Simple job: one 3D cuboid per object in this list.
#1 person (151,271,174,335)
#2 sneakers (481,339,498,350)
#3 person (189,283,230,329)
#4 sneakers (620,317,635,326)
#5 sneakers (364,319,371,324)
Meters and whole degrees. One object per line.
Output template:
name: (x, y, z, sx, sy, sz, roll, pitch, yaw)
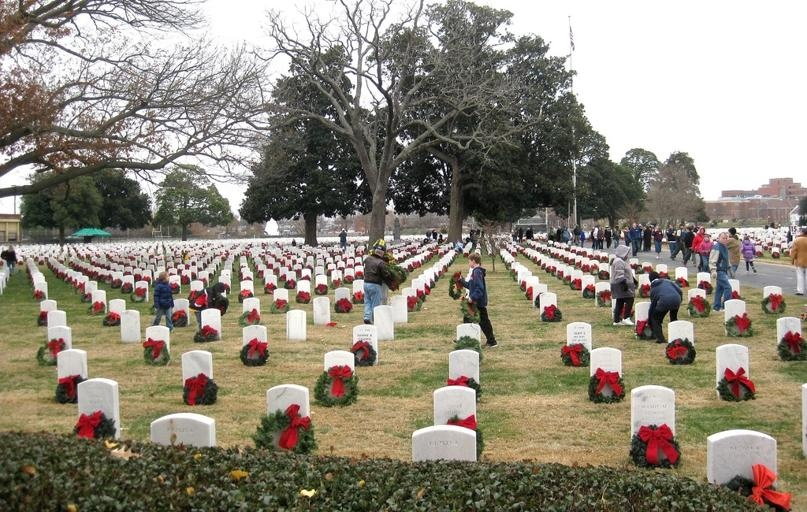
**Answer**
person: (-7.075, 1.290, 27.820, 0.554, 1.719, 1.268, 0, 1, -15)
sneakers: (2.397, 2.415, 26.061, 0.489, 0.210, 0.181, 3, 3, -3)
person: (-5.649, 1.412, 27.417, 1.038, 1.345, 0.714, 0, 1, -13)
sneakers: (6.656, 1.922, 27.846, 0.444, 0.207, 0.164, 1, 8, 28)
sneakers: (-1.022, 1.898, 27.564, 0.112, 0.122, 0.113, 2, 5, -3)
